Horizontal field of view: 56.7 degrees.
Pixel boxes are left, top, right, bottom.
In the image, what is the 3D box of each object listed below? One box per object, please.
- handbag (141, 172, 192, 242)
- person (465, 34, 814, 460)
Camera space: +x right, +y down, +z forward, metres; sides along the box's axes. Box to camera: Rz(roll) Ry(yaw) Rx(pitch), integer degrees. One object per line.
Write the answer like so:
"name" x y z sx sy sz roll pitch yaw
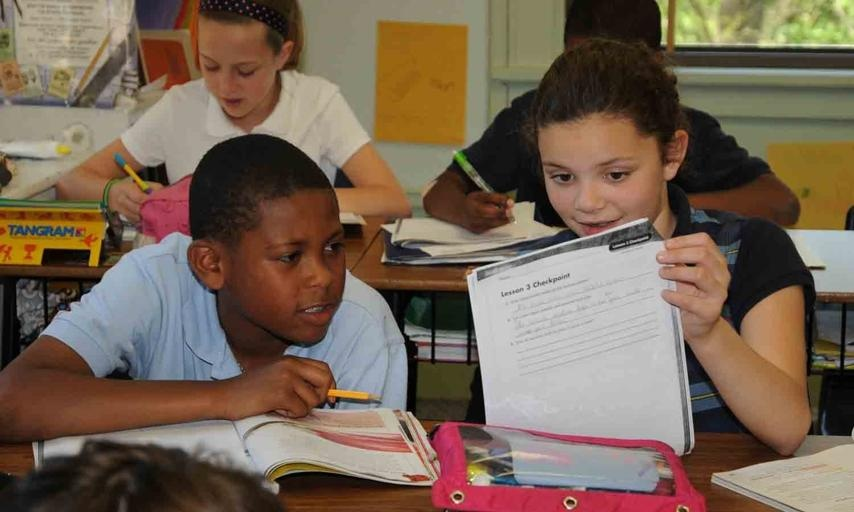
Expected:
"handbag" -0.787 -0.136 2.392 0.083 0.213 0.191 -5 -10 30
"person" 0.601 -0.059 1.845 0.625 0.907 0.513 -2 11 -5
